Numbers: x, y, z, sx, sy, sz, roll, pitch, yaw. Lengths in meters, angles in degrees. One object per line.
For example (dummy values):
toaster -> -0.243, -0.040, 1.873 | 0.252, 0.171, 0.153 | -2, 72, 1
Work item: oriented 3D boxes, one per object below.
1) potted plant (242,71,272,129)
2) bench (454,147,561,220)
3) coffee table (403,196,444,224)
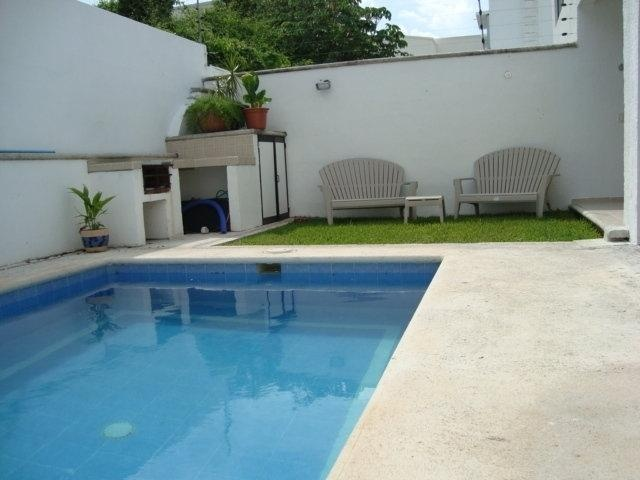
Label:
potted plant -> -1.180, -2.438, 8.681 | 0.560, 0.914, 0.524 | 1, 8, 34
bench -> 2.944, -0.906, 7.707 | 1.377, 1.106, 1.342 | 4, 11, 37
coffee table -> 1.606, -0.481, 7.568 | 0.598, 0.387, 0.495 | -1, 13, 11
